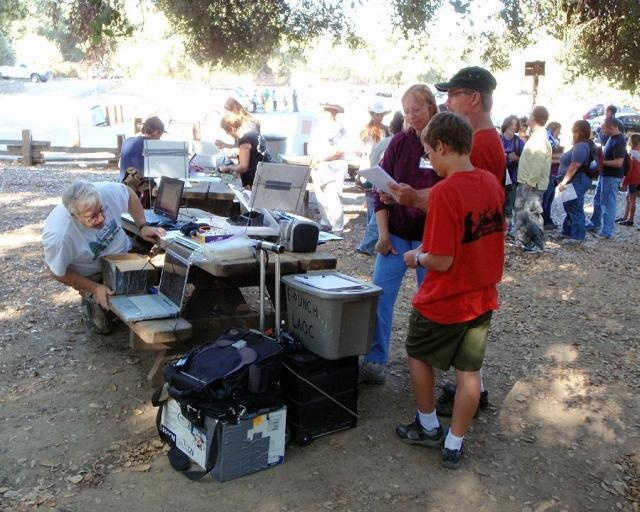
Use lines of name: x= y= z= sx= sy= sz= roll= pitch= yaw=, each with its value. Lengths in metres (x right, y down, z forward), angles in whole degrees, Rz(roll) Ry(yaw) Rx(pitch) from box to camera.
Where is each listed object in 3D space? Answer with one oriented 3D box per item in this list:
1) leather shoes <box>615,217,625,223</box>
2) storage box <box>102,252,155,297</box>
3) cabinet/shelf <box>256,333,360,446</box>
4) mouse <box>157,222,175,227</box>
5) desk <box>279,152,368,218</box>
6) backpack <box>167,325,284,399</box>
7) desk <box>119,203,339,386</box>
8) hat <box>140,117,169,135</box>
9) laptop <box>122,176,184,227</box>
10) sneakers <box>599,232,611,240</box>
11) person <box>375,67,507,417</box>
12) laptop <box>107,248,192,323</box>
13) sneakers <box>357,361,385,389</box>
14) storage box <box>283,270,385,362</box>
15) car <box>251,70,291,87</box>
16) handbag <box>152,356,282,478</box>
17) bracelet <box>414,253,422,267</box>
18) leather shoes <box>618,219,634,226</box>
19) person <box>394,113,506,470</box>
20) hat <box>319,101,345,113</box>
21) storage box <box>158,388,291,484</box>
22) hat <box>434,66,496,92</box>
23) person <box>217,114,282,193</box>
leather shoes: x=6.225 y=-0.770 z=9.748 sx=0.117 sy=0.141 sz=0.323 roll=-1 pitch=6 yaw=42
storage box: x=-1.629 y=0.126 z=3.965 sx=0.367 sy=0.240 sz=0.364 roll=-4 pitch=12 yaw=-35
cabinet/shelf: x=-0.025 y=0.897 z=3.200 sx=0.435 sy=0.551 sz=0.569 roll=-5 pitch=2 yaw=-25
mouse: x=-1.422 y=-0.295 z=4.313 sx=0.108 sy=0.034 sz=0.067 roll=-4 pitch=12 yaw=-10
desk: x=-0.083 y=-1.754 z=9.530 sx=2.081 sy=1.546 sz=1.031 roll=6 pitch=-2 yaw=5
backpack: x=-0.559 y=0.634 z=2.711 sx=0.623 sy=0.222 sz=0.467 roll=-9 pitch=18 yaw=-29
desk: x=-0.849 y=0.466 z=4.015 sx=1.377 sy=0.610 sz=1.463 roll=-18 pitch=-1 yaw=7
hat: x=-2.310 y=-1.834 z=6.575 sx=0.223 sy=0.313 sz=0.301 roll=21 pitch=41 yaw=26
laptop: x=-1.584 y=-0.556 z=4.462 sx=0.587 sy=0.410 sz=0.394 roll=18 pitch=14 yaw=42
sneakers: x=5.112 y=-0.364 z=8.412 sx=0.204 sy=0.092 sz=0.083 roll=-5 pitch=17 yaw=6
person: x=0.956 y=0.032 z=3.746 sx=1.068 sy=3.163 sz=1.034 roll=2 pitch=33 yaw=18
laptop: x=-1.301 y=0.197 z=3.512 sx=0.582 sy=0.415 sz=0.545 roll=15 pitch=14 yaw=37
sneakers: x=0.348 y=0.911 z=3.645 sx=0.294 sy=0.227 sz=0.101 roll=3 pitch=7 yaw=-11
storage box: x=0.062 y=0.358 z=3.117 sx=0.435 sy=0.430 sz=0.616 roll=-3 pitch=10 yaw=-31
car: x=-5.419 y=-20.154 z=52.941 sx=3.802 sy=1.497 sz=1.817 roll=0 pitch=16 yaw=-2
handbag: x=-0.545 y=1.004 z=2.754 sx=0.568 sy=0.324 sz=0.634 roll=-6 pitch=12 yaw=-33
bracelet: x=0.527 y=0.014 z=2.548 sx=0.038 sy=0.059 sz=0.059 roll=10 pitch=-10 yaw=-11
leather shoes: x=6.194 y=-0.712 z=9.527 sx=0.110 sy=0.137 sz=0.300 roll=-13 pitch=18 yaw=-43
person: x=0.747 y=0.224 z=2.673 sx=0.542 sy=2.008 sz=0.420 roll=4 pitch=17 yaw=14
hat: x=0.219 y=-2.535 z=7.926 sx=0.336 sy=0.167 sz=0.316 roll=2 pitch=16 yaw=6
storage box: x=-0.603 y=1.036 z=2.941 sx=0.730 sy=0.377 sz=0.717 roll=6 pitch=7 yaw=43
hat: x=0.926 y=-1.108 z=2.945 sx=0.297 sy=0.156 sz=0.187 roll=2 pitch=23 yaw=10
person: x=-0.977 y=-1.375 z=5.979 sx=0.631 sy=0.893 sz=0.814 roll=-4 pitch=16 yaw=-14
